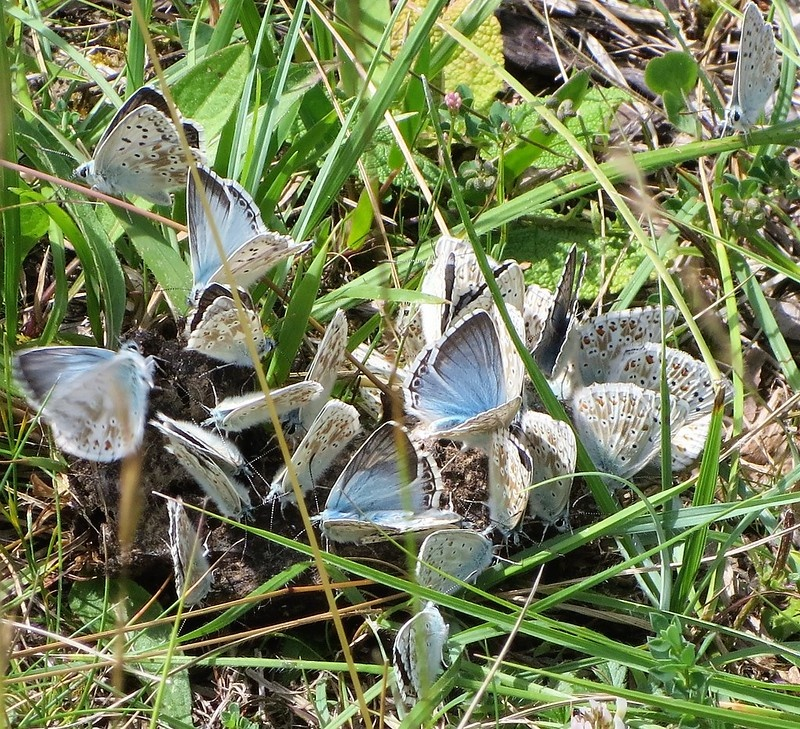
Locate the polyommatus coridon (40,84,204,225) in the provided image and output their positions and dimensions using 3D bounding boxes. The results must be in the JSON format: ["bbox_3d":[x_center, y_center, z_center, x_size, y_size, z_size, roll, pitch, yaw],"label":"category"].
[{"bbox_3d":[-0.768,-0.566,3.344,0.425,0.485,0.300,12,75,-5],"label":"polyommatus coridon"}]

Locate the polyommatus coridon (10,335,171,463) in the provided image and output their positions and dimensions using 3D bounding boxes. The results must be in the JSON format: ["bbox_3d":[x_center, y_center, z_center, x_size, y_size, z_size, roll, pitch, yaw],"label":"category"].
[{"bbox_3d":[-0.756,0.097,2.800,0.269,0.441,0.251,-18,83,20],"label":"polyommatus coridon"}]

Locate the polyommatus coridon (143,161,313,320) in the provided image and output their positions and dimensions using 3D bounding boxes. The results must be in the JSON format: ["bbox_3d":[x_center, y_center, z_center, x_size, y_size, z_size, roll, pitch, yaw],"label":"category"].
[{"bbox_3d":[-0.432,-0.320,2.976,0.421,0.290,0.450,-23,36,-23],"label":"polyommatus coridon"}]

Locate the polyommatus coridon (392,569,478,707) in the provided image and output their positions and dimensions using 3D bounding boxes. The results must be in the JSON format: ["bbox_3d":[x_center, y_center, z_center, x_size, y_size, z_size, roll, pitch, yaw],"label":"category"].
[{"bbox_3d":[0.046,0.667,2.608,0.121,0.251,0.238,15,45,25],"label":"polyommatus coridon"}]

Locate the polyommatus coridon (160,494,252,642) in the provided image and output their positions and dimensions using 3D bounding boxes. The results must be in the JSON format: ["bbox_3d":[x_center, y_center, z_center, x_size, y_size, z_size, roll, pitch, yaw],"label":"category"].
[{"bbox_3d":[-0.469,0.466,2.683,0.113,0.313,0.125,-5,38,11],"label":"polyommatus coridon"}]
